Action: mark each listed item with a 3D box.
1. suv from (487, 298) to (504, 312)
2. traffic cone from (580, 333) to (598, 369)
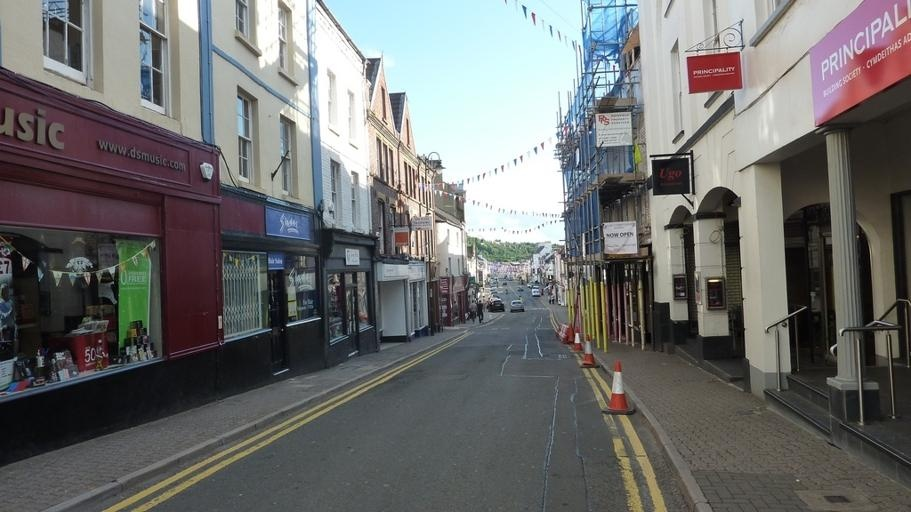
[{"bbox_3d":[4.260,5.385,74.752,1.196,0.965,2.715,-1,3,-1],"label":"suv"},{"bbox_3d":[4.633,3.355,23.731,0.768,0.916,0.816,0,-9,-11],"label":"traffic cone"}]
